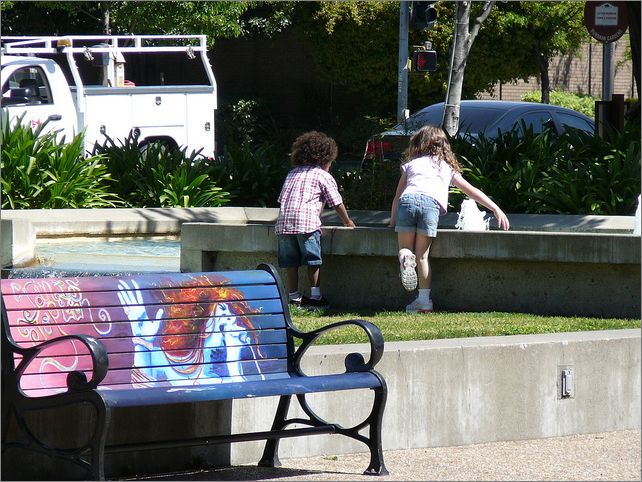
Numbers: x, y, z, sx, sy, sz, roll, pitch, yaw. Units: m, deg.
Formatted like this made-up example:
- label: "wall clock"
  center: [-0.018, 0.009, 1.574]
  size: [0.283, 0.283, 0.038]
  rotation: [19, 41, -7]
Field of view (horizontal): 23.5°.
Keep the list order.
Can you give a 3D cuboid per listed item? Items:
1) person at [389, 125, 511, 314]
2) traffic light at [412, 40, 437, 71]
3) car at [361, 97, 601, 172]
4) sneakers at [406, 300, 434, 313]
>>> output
- label: "person"
  center: [1.322, -0.260, 18.552]
  size: [1.083, 2.137, 0.790]
  rotation: [-5, 10, -20]
- label: "traffic light"
  center: [1.764, -3.082, 26.481]
  size: [0.325, 0.613, 0.503]
  rotation: [3, -10, 3]
- label: "car"
  center: [2.142, -1.917, 23.929]
  size: [3.304, 1.440, 1.536]
  rotation: [-9, 10, -43]
- label: "sneakers"
  center: [1.145, 0.800, 18.405]
  size: [0.293, 0.206, 0.145]
  rotation: [2, 1, 4]
